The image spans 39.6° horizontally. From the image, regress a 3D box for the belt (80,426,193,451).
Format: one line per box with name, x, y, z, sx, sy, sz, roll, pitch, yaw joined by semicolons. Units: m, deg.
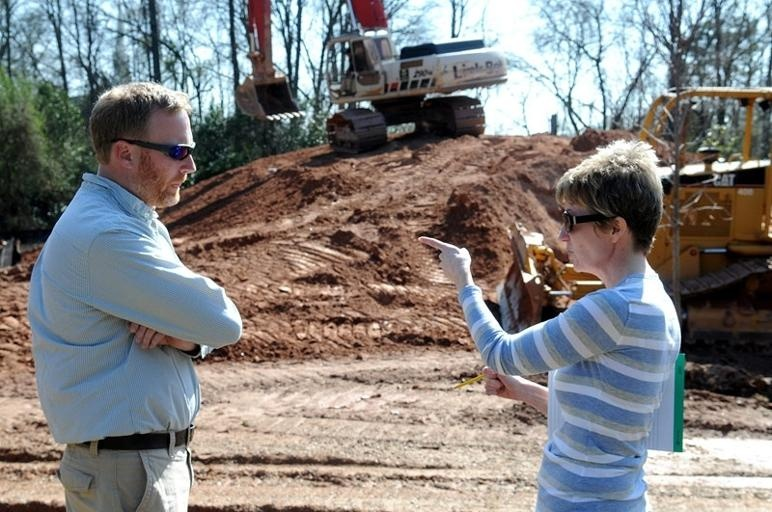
belt;-3.535;2.662;15.492;1.338;0.257;0.098;-2;7;-9
